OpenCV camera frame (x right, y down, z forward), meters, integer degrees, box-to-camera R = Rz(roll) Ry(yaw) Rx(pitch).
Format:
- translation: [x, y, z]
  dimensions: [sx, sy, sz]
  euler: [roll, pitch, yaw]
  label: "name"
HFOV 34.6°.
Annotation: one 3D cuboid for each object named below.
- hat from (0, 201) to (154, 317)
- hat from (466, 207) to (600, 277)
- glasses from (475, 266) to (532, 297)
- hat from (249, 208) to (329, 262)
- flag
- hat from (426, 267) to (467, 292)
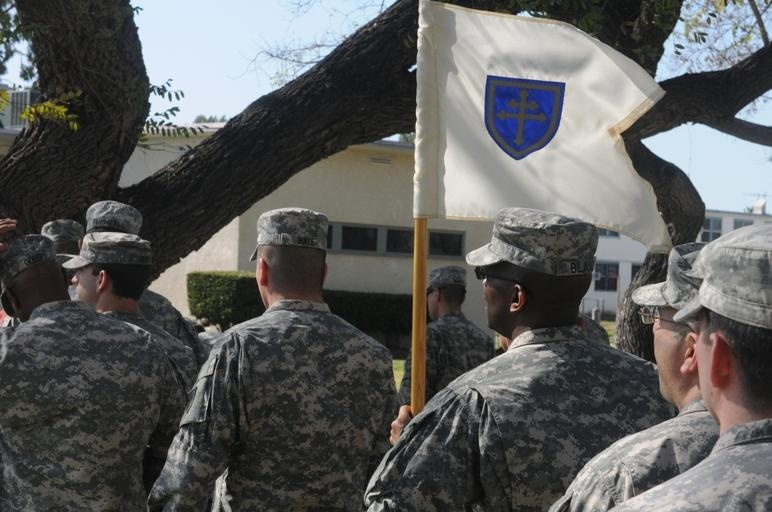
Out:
- translation: [-2.510, 0.003, 10.068]
  dimensions: [1.180, 0.590, 0.859]
  euler: [3, -3, 33]
  label: "hat"
- translation: [0.967, -0.119, 8.211]
  dimensions: [0.852, 0.435, 0.635]
  euler: [5, 10, 23]
  label: "hat"
- translation: [0.732, 0.124, 7.963]
  dimensions: [0.206, 0.075, 0.234]
  euler: [12, 5, -40]
  label: "glasses"
- translation: [-0.698, -0.130, 8.646]
  dimensions: [0.636, 0.387, 0.504]
  euler: [-2, -5, -20]
  label: "hat"
- translation: [1.152, -1.034, 9.342]
  dimensions: [2.431, 2.290, 0.272]
  euler: [4, -15, -5]
  label: "flag"
- translation: [0.523, 0.202, 10.990]
  dimensions: [0.261, 0.147, 0.199]
  euler: [1, -1, 38]
  label: "hat"
